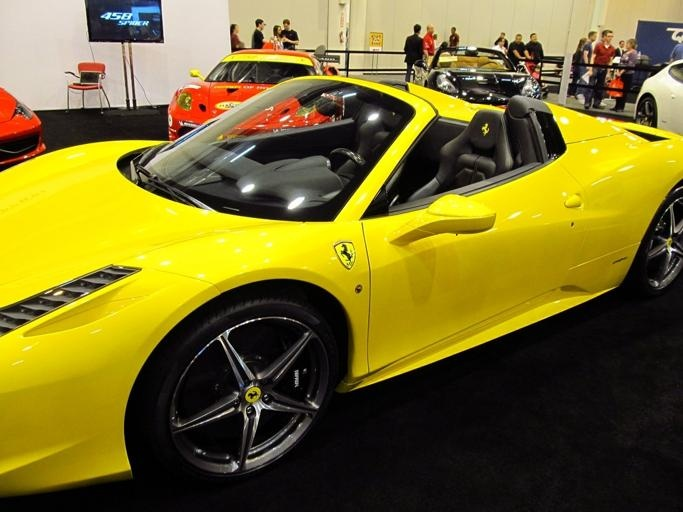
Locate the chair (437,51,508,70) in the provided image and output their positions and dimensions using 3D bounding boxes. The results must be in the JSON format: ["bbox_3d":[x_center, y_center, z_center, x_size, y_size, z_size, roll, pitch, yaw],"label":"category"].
[{"bbox_3d":[2.697,-4.091,9.734,0.737,0.480,1.113,-15,29,-34],"label":"chair"}]

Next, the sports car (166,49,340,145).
[{"bbox_3d":[-1.399,-2.541,6.898,1.646,0.834,2.620,1,20,12],"label":"sports car"}]

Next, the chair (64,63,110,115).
[{"bbox_3d":[-5.278,-3.547,9.735,0.760,0.949,0.701,-3,23,-16],"label":"chair"}]

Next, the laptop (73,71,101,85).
[{"bbox_3d":[-5.291,-3.737,9.747,0.409,0.294,0.059,-3,7,-14],"label":"laptop"}]

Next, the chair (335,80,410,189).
[{"bbox_3d":[0.153,-0.554,2.443,0.228,0.276,0.342,-13,25,13],"label":"chair"}]
